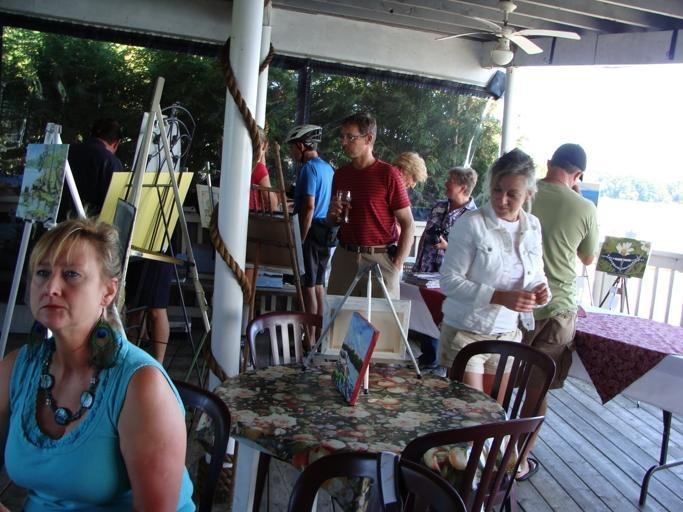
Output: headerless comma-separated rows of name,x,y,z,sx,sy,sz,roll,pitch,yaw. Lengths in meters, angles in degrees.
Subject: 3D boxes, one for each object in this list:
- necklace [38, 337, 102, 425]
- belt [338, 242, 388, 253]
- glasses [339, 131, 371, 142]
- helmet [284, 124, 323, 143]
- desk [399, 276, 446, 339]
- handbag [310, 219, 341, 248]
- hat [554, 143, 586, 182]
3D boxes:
necklace,-0.784,0.364,1.394,0.130,0.205,0.049,-14,-21,6
belt,0.146,-0.056,3.278,0.324,0.062,0.075,7,12,16
glasses,0.087,-0.779,3.206,0.168,0.060,0.074,3,11,2
helmet,-0.319,-1.055,4.207,0.227,0.133,0.176,6,1,1
desk,0.567,0.360,3.490,0.366,0.256,0.373,17,9,37
handbag,-0.146,-0.193,4.231,0.222,0.187,0.229,15,0,-26
hat,1.346,-0.568,2.854,0.119,0.128,0.203,44,-3,38
